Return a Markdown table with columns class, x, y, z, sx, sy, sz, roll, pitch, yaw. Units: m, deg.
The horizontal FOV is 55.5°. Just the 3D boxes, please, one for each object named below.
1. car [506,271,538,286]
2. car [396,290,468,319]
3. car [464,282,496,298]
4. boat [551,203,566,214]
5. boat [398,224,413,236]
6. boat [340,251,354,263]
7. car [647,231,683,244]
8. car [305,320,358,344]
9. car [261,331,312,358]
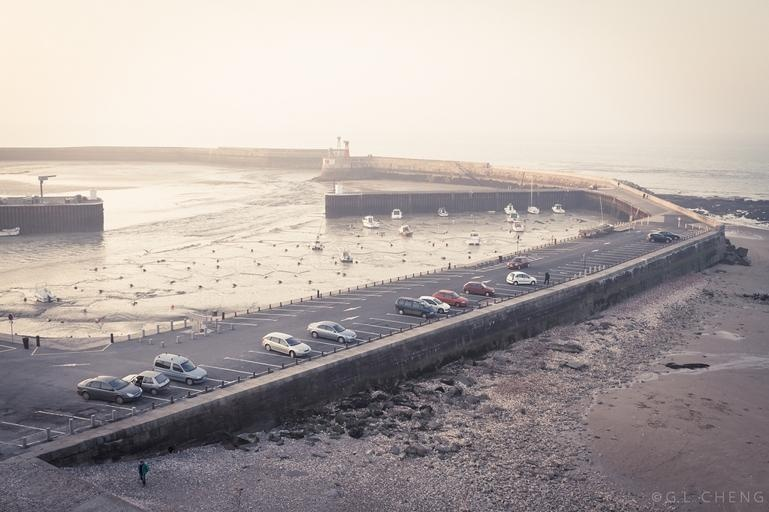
| class | x | y | z | sx | sy | sz | roll | pitch | yaw |
| --- | --- | --- | --- | --- | --- | --- | --- | --- | --- |
| car | 14.344 | 2.376 | 75.417 | 2.889 | 0.832 | 1.485 | -3 | 8 | -5 |
| car | 3.582 | 4.589 | 65.626 | 4.714 | 1.563 | 2.800 | -2 | 8 | -9 |
| car | 9.314 | 3.340 | 71.740 | 2.836 | 0.810 | 1.424 | -1 | 6 | 13 |
| boat | 35.940 | -9.791 | 151.270 | 3.069 | 0.886 | 3.268 | 3 | 16 | 13 |
| boat | 3.680 | -4.343 | 123.658 | 2.295 | 1.745 | 6.448 | 1 | 9 | -1 |
| boat | -5.042 | 0.275 | 99.299 | 1.032 | 0.911 | 2.836 | 0 | 10 | -6 |
| car | 37.760 | -2.486 | 98.229 | 3.369 | 1.254 | 4.113 | 3 | 8 | 30 |
| car | -4.169 | 6.260 | 59.442 | 4.088 | 1.443 | 1.043 | 3 | 11 | 27 |
| car | -7.650 | 6.940 | 56.952 | 4.059 | 0.951 | 1.668 | 7 | 16 | 29 |
